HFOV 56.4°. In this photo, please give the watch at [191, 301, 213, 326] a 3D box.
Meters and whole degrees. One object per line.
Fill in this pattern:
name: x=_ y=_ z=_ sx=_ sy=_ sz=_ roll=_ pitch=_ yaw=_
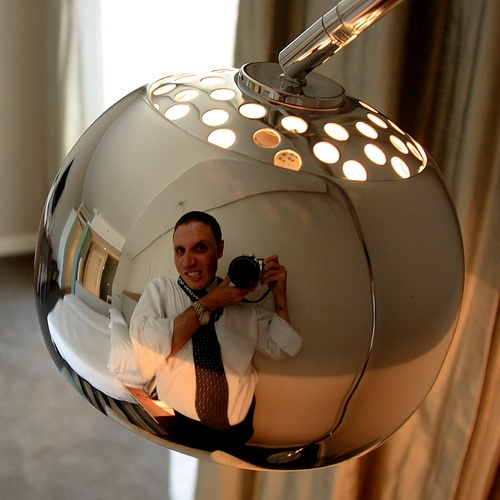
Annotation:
watch: x=-0.031 y=0.039 z=0.294 sx=0.008 sy=0.012 sz=0.011 roll=-33 pitch=35 yaw=-11
